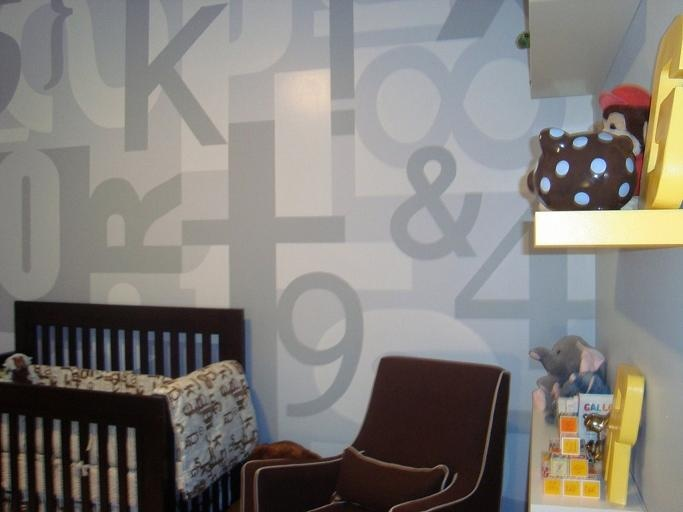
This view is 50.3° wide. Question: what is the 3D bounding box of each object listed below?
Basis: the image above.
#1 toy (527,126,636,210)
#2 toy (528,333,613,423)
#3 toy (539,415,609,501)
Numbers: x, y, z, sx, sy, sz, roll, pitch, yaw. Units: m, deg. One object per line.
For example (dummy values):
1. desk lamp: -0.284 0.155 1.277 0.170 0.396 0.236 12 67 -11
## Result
1. toy: 0.780 -0.261 2.359 0.231 0.260 0.271 -2 6 -44
2. toy: 1.009 0.547 3.232 0.296 0.390 0.299 -2 -18 25
3. toy: 0.874 0.757 2.815 0.179 0.336 0.086 0 -6 6
